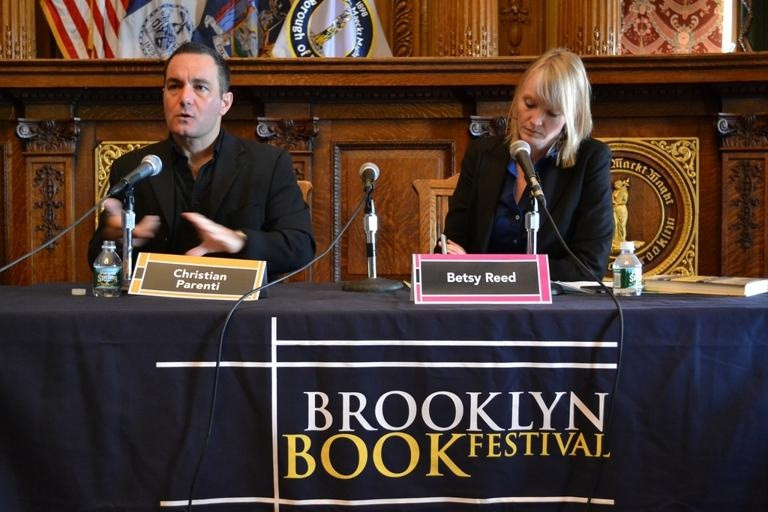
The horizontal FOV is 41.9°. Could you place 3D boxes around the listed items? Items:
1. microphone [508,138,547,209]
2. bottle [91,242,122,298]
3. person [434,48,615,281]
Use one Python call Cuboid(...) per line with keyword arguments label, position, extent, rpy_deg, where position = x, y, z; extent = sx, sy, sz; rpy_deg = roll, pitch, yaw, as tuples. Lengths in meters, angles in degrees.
Cuboid(label="microphone", position=(0.584, -0.351, 4.182), extent=(0.106, 0.098, 0.373), rpy_deg=(40, 25, -36))
Cuboid(label="bottle", position=(-1.157, 0.053, 4.193), extent=(0.121, 0.229, 0.125), rpy_deg=(2, 5, 0))
Cuboid(label="person", position=(0.663, -0.455, 4.711), extent=(0.809, 1.022, 0.635), rpy_deg=(4, 8, 18))
